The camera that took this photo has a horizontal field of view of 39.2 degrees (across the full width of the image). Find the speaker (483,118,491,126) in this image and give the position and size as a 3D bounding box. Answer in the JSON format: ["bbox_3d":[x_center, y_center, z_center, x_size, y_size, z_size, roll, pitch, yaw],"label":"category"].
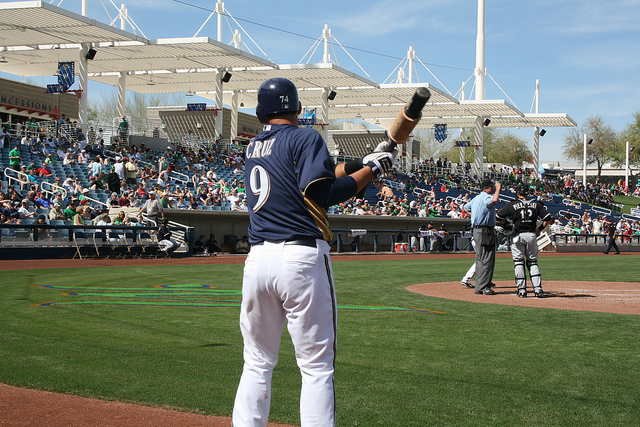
[{"bbox_3d":[11.818,-6.501,63.699,0.441,0.514,0.152,14,5,15],"label":"speaker"}]

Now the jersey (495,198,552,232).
[{"bbox_3d":[5.524,0.112,23.721,0.609,1.009,1.687,-3,5,-45],"label":"jersey"}]

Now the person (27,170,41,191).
[{"bbox_3d":[-10.975,-1.307,34.487,0.448,0.758,1.748,2,1,-18],"label":"person"}]

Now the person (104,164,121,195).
[{"bbox_3d":[-8.020,-1.274,34.899,0.621,1.001,1.139,2,1,-13],"label":"person"}]

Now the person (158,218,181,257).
[{"bbox_3d":[-5.655,0.866,33.171,0.907,1.369,0.837,-1,-2,44],"label":"person"}]

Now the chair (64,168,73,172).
[{"bbox_3d":[-10.407,-1.793,37.207,0.169,0.141,0.155,1,-7,-8],"label":"chair"}]

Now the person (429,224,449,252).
[{"bbox_3d":[5.492,1.159,41.426,0.695,0.969,1.723,3,1,17],"label":"person"}]

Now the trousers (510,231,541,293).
[{"bbox_3d":[5.437,1.269,23.741,0.826,1.355,0.447,3,1,11],"label":"trousers"}]

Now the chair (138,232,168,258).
[{"bbox_3d":[-6.154,1.194,32.679,0.934,1.195,1.007,-6,-7,-24],"label":"chair"}]

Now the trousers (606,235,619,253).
[{"bbox_3d":[14.088,1.450,43.266,0.577,0.744,1.116,3,1,18],"label":"trousers"}]

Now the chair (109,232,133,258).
[{"bbox_3d":[-6.830,1.097,32.146,0.692,0.990,0.877,0,0,-36],"label":"chair"}]
